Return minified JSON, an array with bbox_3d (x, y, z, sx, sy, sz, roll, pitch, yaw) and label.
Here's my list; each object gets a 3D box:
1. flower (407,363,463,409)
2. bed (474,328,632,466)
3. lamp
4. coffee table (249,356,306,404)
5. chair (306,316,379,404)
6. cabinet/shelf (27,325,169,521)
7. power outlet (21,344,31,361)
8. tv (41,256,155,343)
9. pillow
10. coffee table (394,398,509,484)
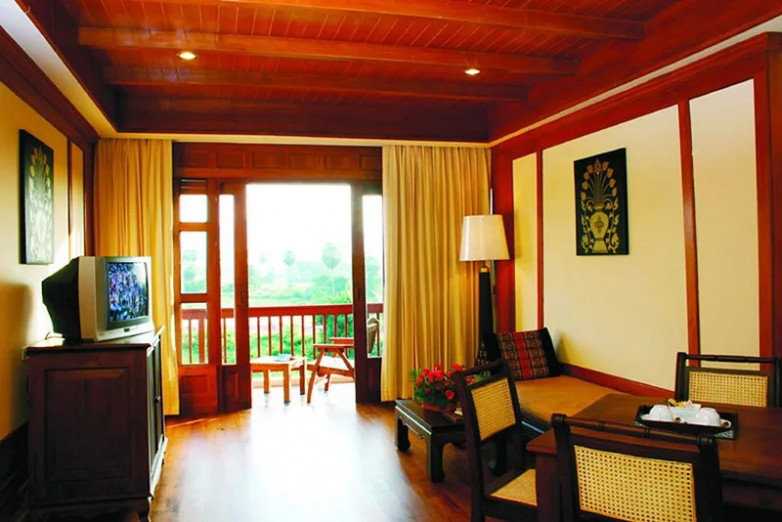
[{"bbox_3d":[0.438,1.093,4.899,0.383,0.308,0.417,4,-21,-37],"label":"flower"},{"bbox_3d":[1.337,1.052,5.097,0.686,0.741,1.184,-4,0,-22],"label":"bed"},{"bbox_3d":[1.048,0.215,6.056,0.511,1.227,0.498,-11,-7,-20],"label":"lamp"},{"bbox_3d":[-1.269,1.295,6.545,0.528,0.442,0.534,-1,-5,9],"label":"coffee table"},{"bbox_3d":[-0.495,1.173,6.937,0.929,1.221,0.887,1,-10,-2],"label":"chair"},{"bbox_3d":[-2.171,1.123,4.761,1.031,1.668,1.784,-1,-1,-19],"label":"cabinet/shelf"},{"bbox_3d":[-2.560,0.643,4.038,0.036,0.138,0.136,7,-7,-35],"label":"power outlet"},{"bbox_3d":[-2.303,0.279,4.513,0.581,0.648,0.781,-1,-1,1],"label":"tv"},{"bbox_3d":[1.206,0.841,5.501,0.632,0.160,0.479,-6,33,2],"label":"pillow"},{"bbox_3d":[0.457,1.487,4.930,0.742,0.421,0.964,0,0,-9],"label":"coffee table"}]
